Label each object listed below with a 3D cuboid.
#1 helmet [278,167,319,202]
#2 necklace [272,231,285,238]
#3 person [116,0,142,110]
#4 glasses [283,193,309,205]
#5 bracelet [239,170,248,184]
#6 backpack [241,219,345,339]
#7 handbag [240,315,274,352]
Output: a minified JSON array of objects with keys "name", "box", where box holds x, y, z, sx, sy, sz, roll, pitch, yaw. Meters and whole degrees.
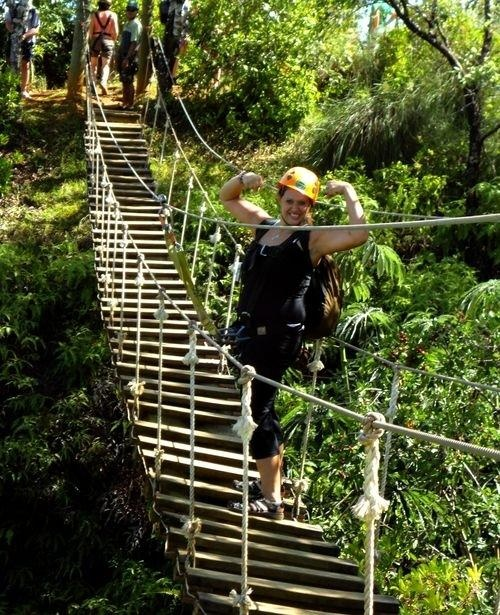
[{"name":"helmet","box":[0.167,-0.435,2.405,0.140,0.130,0.193,8,5,1]},{"name":"necklace","box":[0.095,-0.250,2.372,0.037,0.028,0.009,0,-7,30]},{"name":"person","box":[-1.279,-2.700,7.301,0.238,1.178,0.577,9,6,-12]},{"name":"glasses","box":[0.153,-0.375,2.347,0.047,0.030,0.062,20,-7,3]},{"name":"bracelet","box":[-0.030,-0.515,2.706,0.033,0.050,0.067,4,34,8]},{"name":"backpack","box":[0.142,-0.093,2.409,0.371,0.416,0.271,9,6,6]},{"name":"handbag","box":[0.015,0.093,2.350,0.103,0.107,0.130,3,-5,-18]}]
